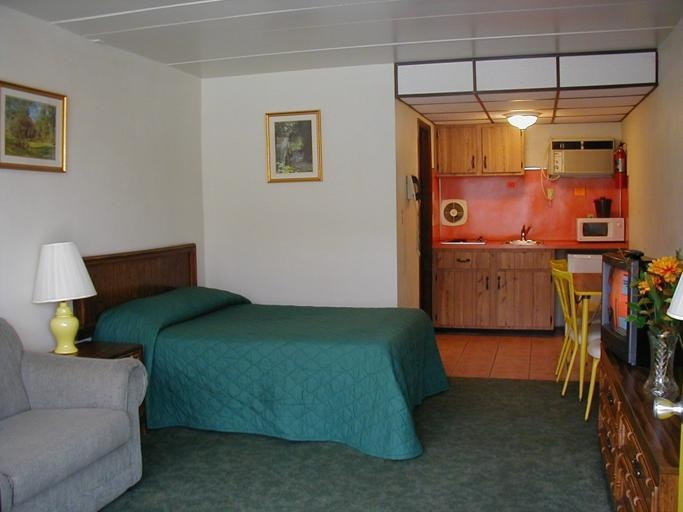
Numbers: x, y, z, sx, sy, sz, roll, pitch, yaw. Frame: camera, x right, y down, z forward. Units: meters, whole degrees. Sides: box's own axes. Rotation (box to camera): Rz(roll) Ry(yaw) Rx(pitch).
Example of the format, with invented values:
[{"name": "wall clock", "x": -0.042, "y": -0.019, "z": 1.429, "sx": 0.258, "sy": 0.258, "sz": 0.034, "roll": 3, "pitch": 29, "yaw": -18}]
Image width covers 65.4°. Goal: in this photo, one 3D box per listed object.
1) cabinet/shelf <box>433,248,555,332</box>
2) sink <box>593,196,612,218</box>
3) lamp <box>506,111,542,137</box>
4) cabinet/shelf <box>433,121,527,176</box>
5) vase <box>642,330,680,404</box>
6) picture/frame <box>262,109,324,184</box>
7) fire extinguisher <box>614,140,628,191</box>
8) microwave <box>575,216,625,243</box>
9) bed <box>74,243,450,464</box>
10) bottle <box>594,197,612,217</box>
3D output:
[{"name": "cabinet/shelf", "x": 1.934, "y": 0.385, "z": 6.850, "sx": 1.596, "sy": 1.337, "sz": 0.921, "roll": 0, "pitch": 0, "yaw": 15}, {"name": "sink", "x": 3.231, "y": -0.599, "z": 6.691, "sx": 0.223, "sy": 0.258, "sz": 0.233, "roll": 3, "pitch": -8, "yaw": -3}, {"name": "lamp", "x": 2.094, "y": -1.506, "z": 6.069, "sx": 0.282, "sy": 0.144, "sz": 0.283, "roll": -8, "pitch": 14, "yaw": -28}, {"name": "cabinet/shelf", "x": 1.795, "y": -1.294, "z": 7.015, "sx": 1.113, "sy": 0.721, "sz": 0.404, "roll": 1, "pitch": -13, "yaw": 7}, {"name": "vase", "x": 1.552, "y": 0.510, "z": 2.560, "sx": 0.149, "sy": 0.311, "sz": 0.292, "roll": 5, "pitch": 13, "yaw": 31}, {"name": "picture/frame", "x": -0.465, "y": -1.130, "z": 5.403, "sx": 0.688, "sy": 0.875, "sz": 0.039, "roll": 0, "pitch": 2, "yaw": 15}, {"name": "fire extinguisher", "x": 3.398, "y": -1.097, "z": 6.464, "sx": 0.165, "sy": 0.555, "sz": 0.316, "roll": 5, "pitch": 12, "yaw": 28}, {"name": "microwave", "x": 3.153, "y": -0.324, "z": 6.463, "sx": 0.401, "sy": 0.286, "sz": 0.317, "roll": 0, "pitch": -1, "yaw": 14}, {"name": "bed", "x": -0.626, "y": 0.715, "z": 4.265, "sx": 2.174, "sy": 1.103, "sz": 1.520, "roll": 3, "pitch": 6, "yaw": 14}, {"name": "bottle", "x": 3.274, "y": -0.589, "z": 6.619, "sx": 0.210, "sy": 0.239, "sz": 0.226, "roll": 1, "pitch": -9, "yaw": 6}]
